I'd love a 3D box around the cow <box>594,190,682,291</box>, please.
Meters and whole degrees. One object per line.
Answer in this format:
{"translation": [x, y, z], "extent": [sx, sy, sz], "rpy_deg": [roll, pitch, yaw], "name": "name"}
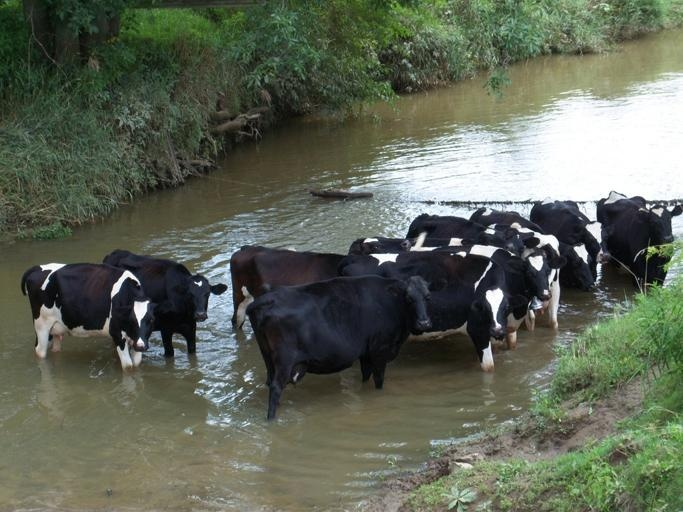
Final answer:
{"translation": [4.737, -0.249, 12.042], "extent": [1.077, 1.310, 1.595], "rpy_deg": [-8, 9, 2], "name": "cow"}
